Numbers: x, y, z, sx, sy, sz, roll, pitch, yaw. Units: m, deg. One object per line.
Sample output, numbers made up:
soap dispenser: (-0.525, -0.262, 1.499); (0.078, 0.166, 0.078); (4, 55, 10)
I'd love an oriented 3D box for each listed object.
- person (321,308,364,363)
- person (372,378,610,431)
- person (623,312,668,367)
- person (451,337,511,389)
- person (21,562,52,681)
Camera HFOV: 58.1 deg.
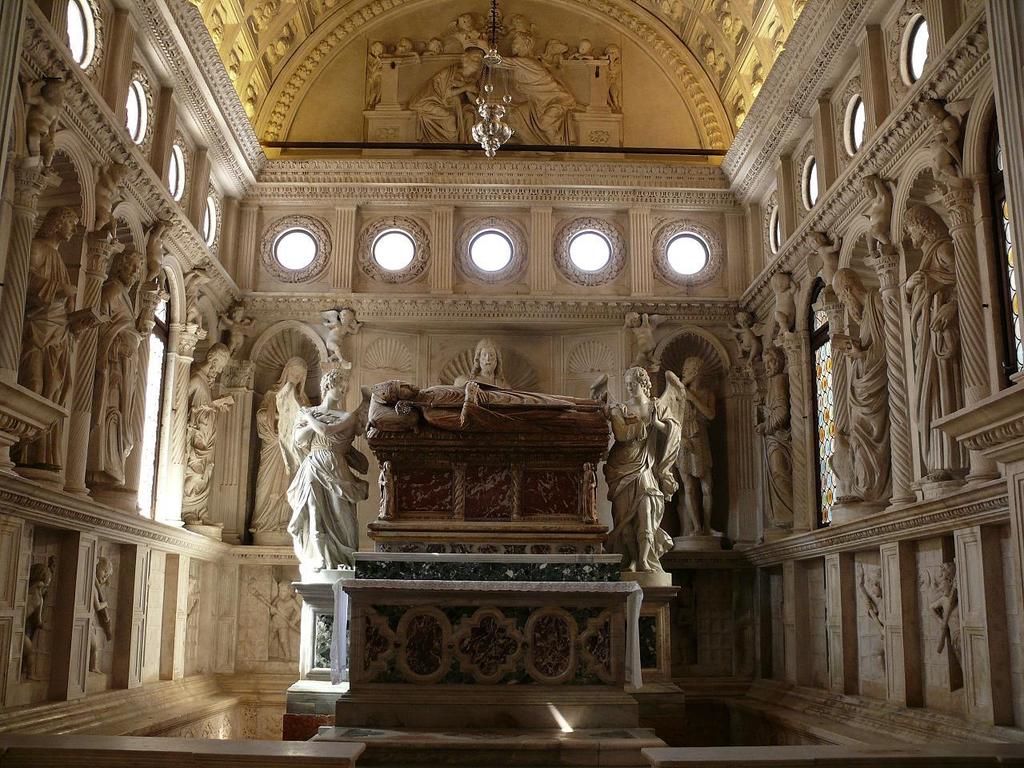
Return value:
person: (-2.910, -0.824, 15.660); (0.788, 1.045, 0.294); (0, -12, -13)
person: (-0.431, 0.229, 9.564); (1.341, 0.363, 0.987); (-2, -7, -6)
person: (2.235, -0.776, 15.656); (0.794, 1.121, 0.346); (1, -12, -5)
person: (-0.353, -0.197, 12.679); (0.802, 0.880, 0.438); (0, -10, 1)
person: (-5.144, 2.500, 9.941); (0.139, 1.287, 0.518); (4, -18, -15)
